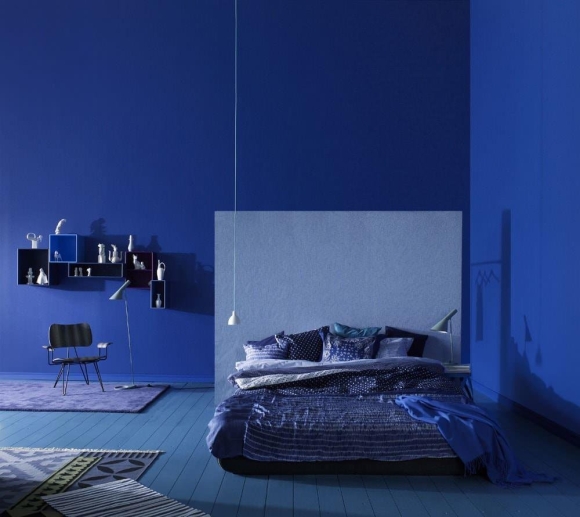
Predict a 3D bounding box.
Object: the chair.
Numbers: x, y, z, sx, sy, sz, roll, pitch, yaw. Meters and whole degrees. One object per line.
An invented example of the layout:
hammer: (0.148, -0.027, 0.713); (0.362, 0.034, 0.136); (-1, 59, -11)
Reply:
chair: (-2.603, 1.204, 6.414); (0.723, 0.860, 0.531); (1, -4, -35)

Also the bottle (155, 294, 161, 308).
bottle: (-1.680, 0.533, 6.696); (0.098, 0.168, 0.068); (-2, 4, 25)
